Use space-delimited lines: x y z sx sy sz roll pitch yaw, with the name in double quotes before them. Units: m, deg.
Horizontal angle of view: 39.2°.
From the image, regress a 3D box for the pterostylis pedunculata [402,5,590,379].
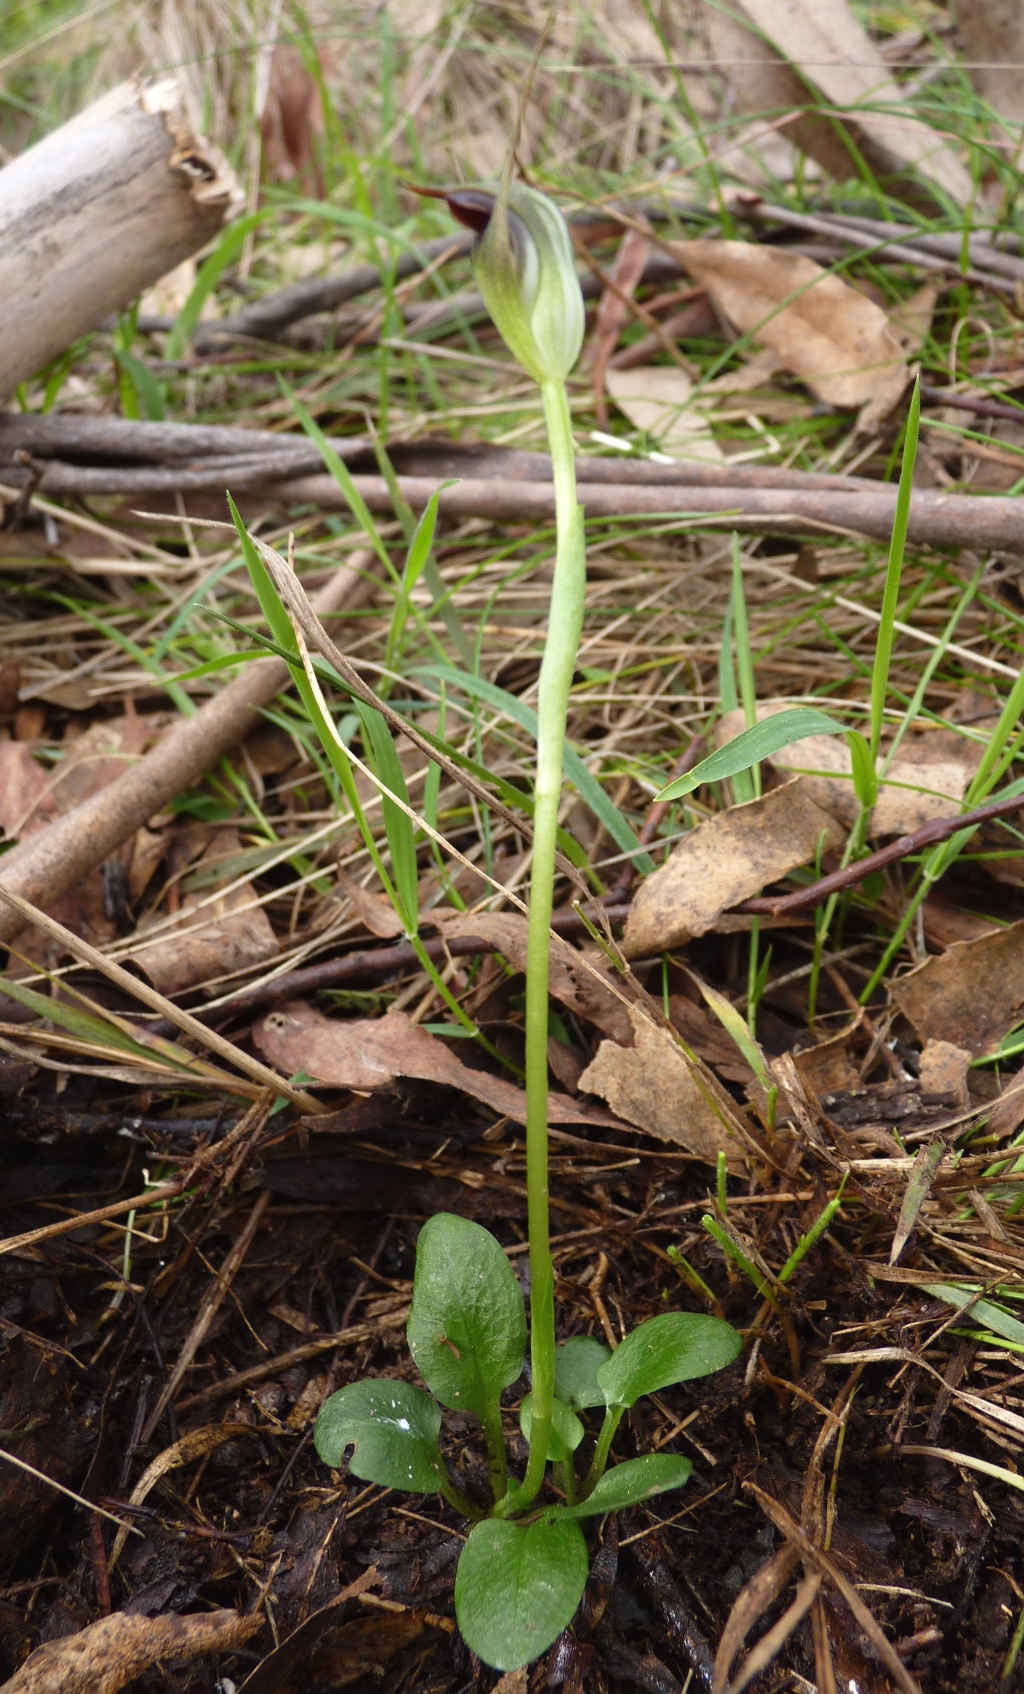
"pterostylis pedunculata" 0.000 -0.411 0.965 0.106 0.210 0.063 -5 11 40
